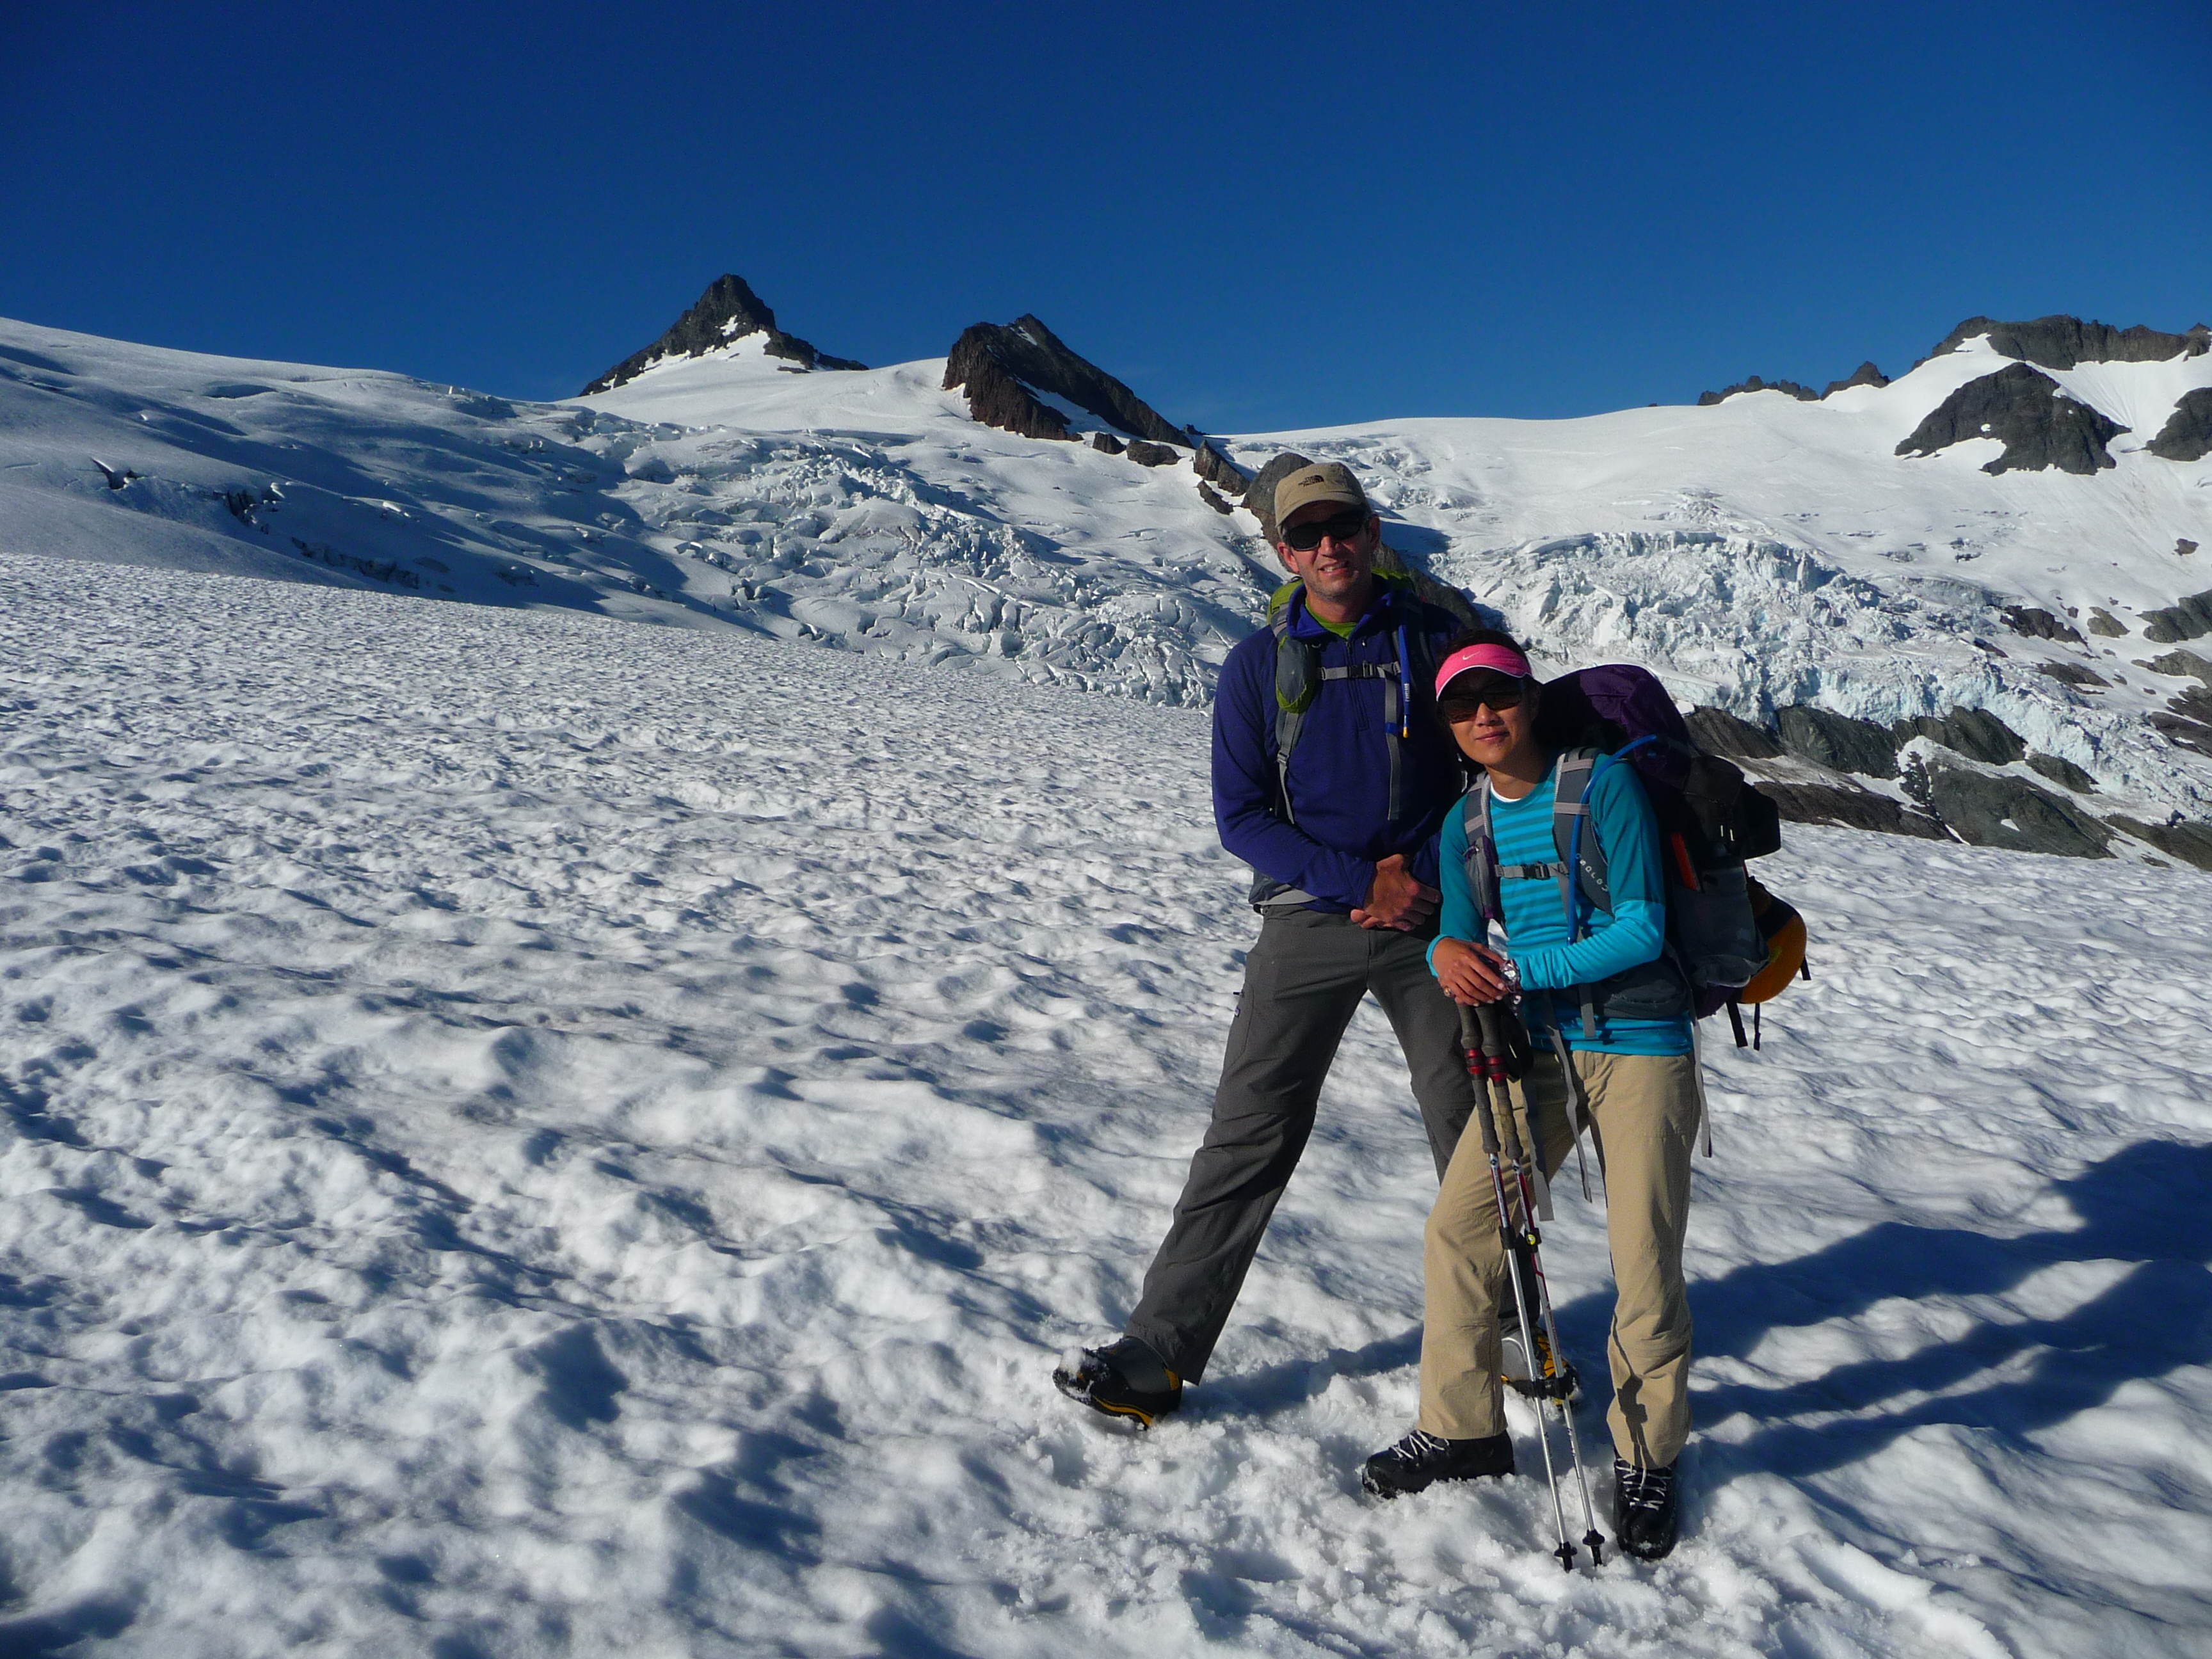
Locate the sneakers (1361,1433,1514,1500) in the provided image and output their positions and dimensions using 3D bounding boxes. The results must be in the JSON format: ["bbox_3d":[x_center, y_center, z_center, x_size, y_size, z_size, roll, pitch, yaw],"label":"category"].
[{"bbox_3d":[1.020,1.988,5.479,0.608,0.198,0.169,2,-5,-3],"label":"sneakers"}]

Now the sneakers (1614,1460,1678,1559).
[{"bbox_3d":[1.662,2.088,5.352,0.212,0.265,0.151,9,16,15],"label":"sneakers"}]

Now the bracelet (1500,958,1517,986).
[{"bbox_3d":[1.271,0.444,5.485,0.027,0.077,0.054,-3,51,37],"label":"bracelet"}]

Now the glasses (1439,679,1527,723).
[{"bbox_3d":[1.161,-0.420,5.464,0.378,0.119,0.226,-4,14,-43],"label":"glasses"}]

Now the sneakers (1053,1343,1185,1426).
[{"bbox_3d":[0.063,1.777,5.646,0.559,0.195,0.156,12,46,-6],"label":"sneakers"}]

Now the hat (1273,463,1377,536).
[{"bbox_3d":[0.712,-1.111,5.753,0.265,0.138,0.293,-16,-17,11],"label":"hat"}]
